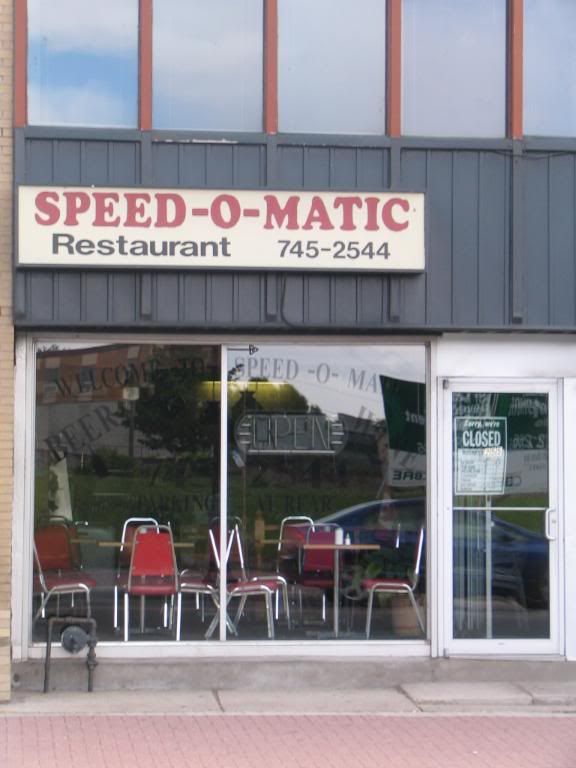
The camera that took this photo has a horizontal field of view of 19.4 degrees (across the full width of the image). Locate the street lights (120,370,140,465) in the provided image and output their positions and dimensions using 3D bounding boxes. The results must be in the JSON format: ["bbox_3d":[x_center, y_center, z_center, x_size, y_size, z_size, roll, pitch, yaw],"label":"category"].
[{"bbox_3d":[-1.268,0.268,13.526,0.139,0.709,0.056,-1,-1,-10],"label":"street lights"}]
